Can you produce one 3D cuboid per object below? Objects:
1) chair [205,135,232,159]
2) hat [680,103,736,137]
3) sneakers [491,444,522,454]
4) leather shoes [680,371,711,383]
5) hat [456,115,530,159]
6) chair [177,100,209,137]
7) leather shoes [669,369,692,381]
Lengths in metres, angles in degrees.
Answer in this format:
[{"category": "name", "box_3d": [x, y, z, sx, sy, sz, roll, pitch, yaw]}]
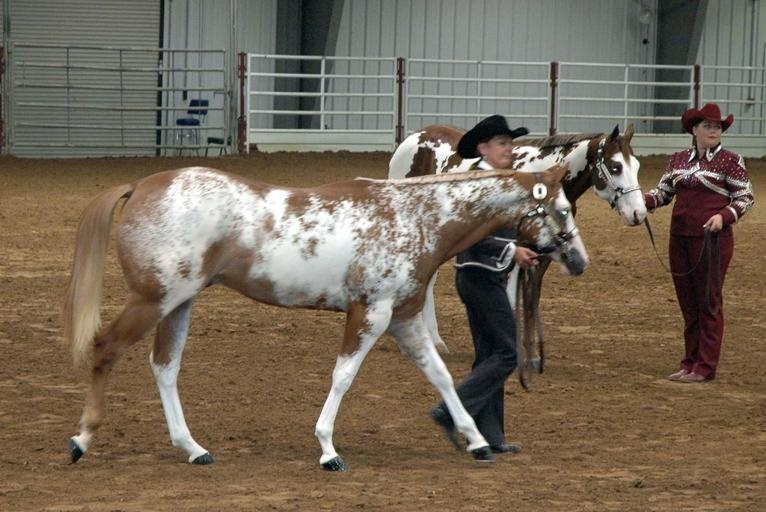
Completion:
[{"category": "chair", "box_3d": [-3.448, -2.253, 29.694, 0.548, 0.402, 1.246, 1, 9, -7]}, {"category": "hat", "box_3d": [3.883, -1.626, 16.994, 0.574, 0.365, 0.523, 5, 9, 20]}, {"category": "sneakers", "box_3d": [1.377, 2.153, 15.776, 0.355, 0.144, 0.120, -2, 6, -5]}, {"category": "leather shoes", "box_3d": [3.740, 1.464, 17.020, 0.405, 0.158, 0.137, 2, 0, 7]}, {"category": "hat", "box_3d": [1.284, -1.349, 15.902, 0.887, 0.316, 0.747, -7, -18, -1]}, {"category": "chair", "box_3d": [-3.972, -2.813, 29.491, 0.668, 0.819, 1.357, 1, 9, -8]}, {"category": "leather shoes", "box_3d": [3.606, 1.447, 17.118, 0.290, 0.110, 0.102, -4, 3, 10]}]
